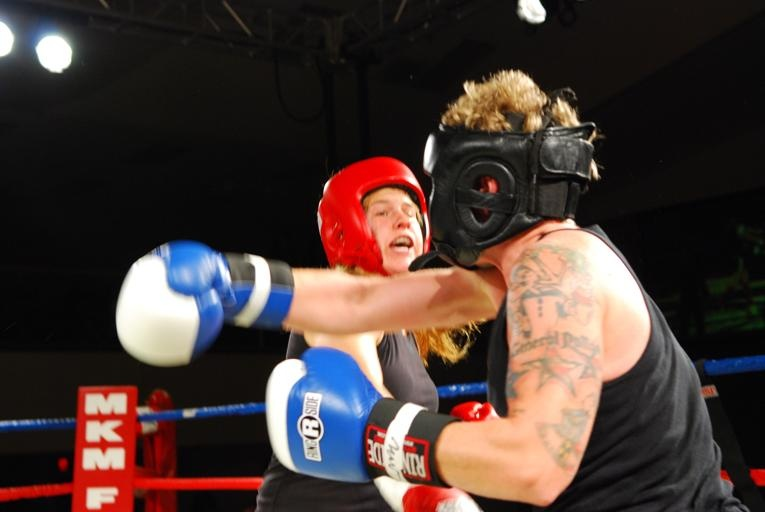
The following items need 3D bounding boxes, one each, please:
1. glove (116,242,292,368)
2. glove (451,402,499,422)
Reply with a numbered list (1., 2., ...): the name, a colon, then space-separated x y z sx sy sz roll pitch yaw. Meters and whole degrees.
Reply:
1. glove: -0.814 0.152 3.158 0.715 0.517 0.382 -11 -36 -37
2. glove: 0.491 0.836 3.765 0.197 0.115 0.247 1 -12 -45
